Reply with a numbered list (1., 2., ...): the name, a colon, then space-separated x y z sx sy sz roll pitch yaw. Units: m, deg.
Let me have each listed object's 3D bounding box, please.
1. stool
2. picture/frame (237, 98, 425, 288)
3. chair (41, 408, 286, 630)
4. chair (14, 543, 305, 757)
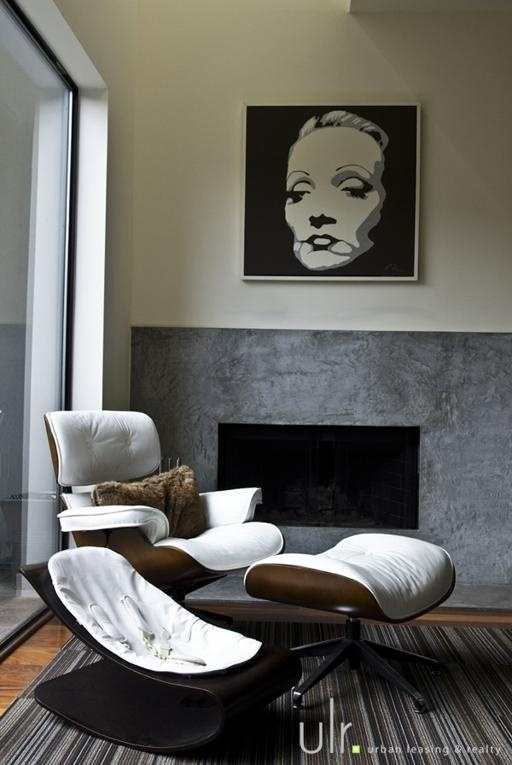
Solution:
1. stool: 0.291 0.729 1.933 0.538 0.431 0.649 -1 -6 39
2. picture/frame: 0.426 -1.005 3.175 0.954 1.004 0.038 0 1 7
3. chair: -0.340 0.507 2.233 0.743 0.853 0.781 -5 -5 29
4. chair: -0.257 0.694 1.592 0.593 0.379 0.392 4 -5 23
